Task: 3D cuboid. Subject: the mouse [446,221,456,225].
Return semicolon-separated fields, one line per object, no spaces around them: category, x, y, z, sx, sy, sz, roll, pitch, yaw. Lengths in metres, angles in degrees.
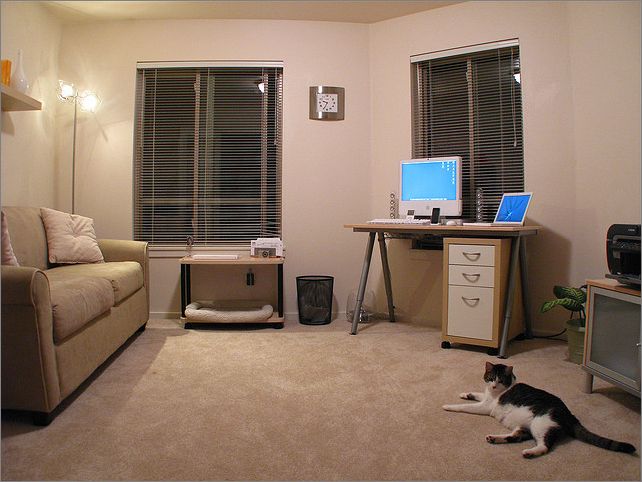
mouse;1.065;-0.144;4.110;0.067;0.050;0.051;-1;-4;-23

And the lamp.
lamp;-2.247;-0.887;4.736;0.370;1.257;0.361;-2;6;-24

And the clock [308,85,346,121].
clock;0.043;-1.319;4.817;0.352;0.309;0.111;0;0;-7

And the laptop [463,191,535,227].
laptop;1.499;-0.255;3.966;0.263;0.250;0.285;4;6;33

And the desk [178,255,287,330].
desk;-0.805;0.466;4.656;0.954;0.587;0.459;0;6;-8

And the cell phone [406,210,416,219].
cell phone;0.772;-0.236;4.363;0.067;0.064;0.016;6;1;34

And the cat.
cat;1.179;0.884;2.797;0.627;0.246;0.445;10;1;36

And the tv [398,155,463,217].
tv;0.944;-0.462;4.289;0.538;0.475;0.189;1;1;26

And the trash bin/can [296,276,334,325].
trash bin/can;-0.049;0.557;4.679;0.325;0.422;0.179;0;6;-6
